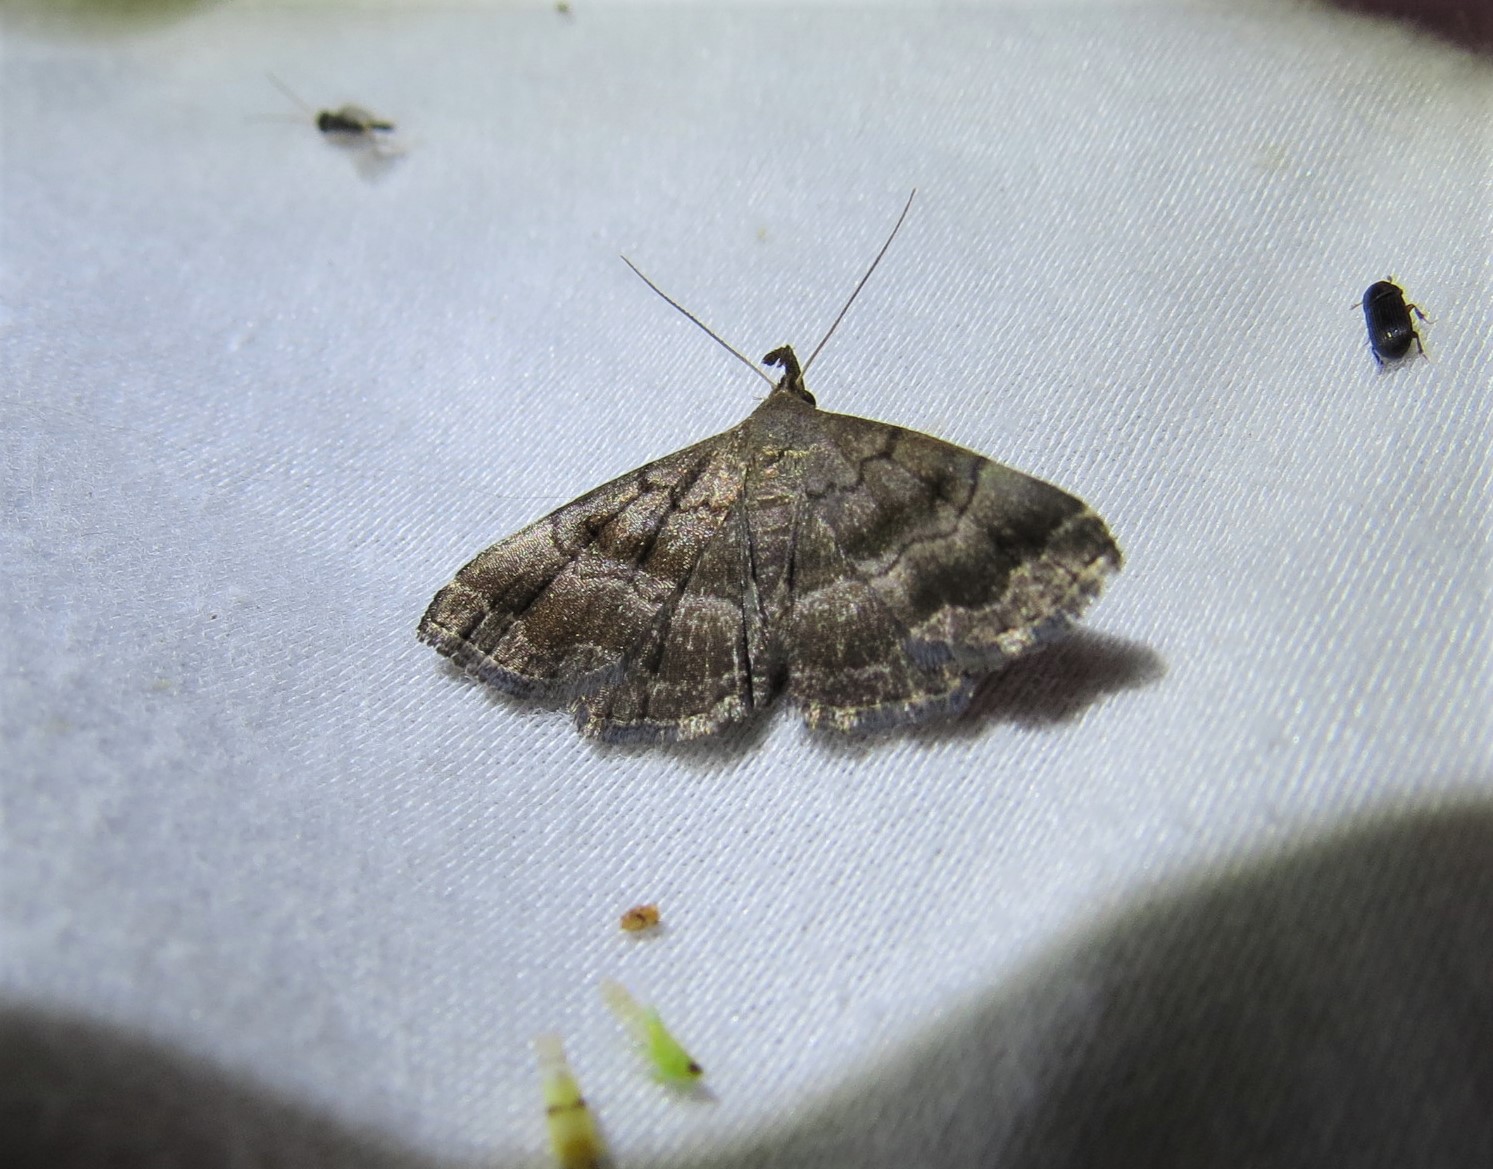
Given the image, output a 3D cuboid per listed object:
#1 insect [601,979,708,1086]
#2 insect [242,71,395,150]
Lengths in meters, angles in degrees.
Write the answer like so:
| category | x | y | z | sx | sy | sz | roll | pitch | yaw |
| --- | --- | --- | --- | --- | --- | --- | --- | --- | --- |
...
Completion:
| category | x | y | z | sx | sy | sz | roll | pitch | yaw |
| --- | --- | --- | --- | --- | --- | --- | --- | --- | --- |
| insect | -0.245 | 1.219 | 4.504 | 0.114 | 0.053 | 0.381 | -29 | 54 | -25 |
| insect | -1.372 | -1.537 | 5.486 | 0.497 | 0.087 | 0.170 | 20 | 81 | 13 |
